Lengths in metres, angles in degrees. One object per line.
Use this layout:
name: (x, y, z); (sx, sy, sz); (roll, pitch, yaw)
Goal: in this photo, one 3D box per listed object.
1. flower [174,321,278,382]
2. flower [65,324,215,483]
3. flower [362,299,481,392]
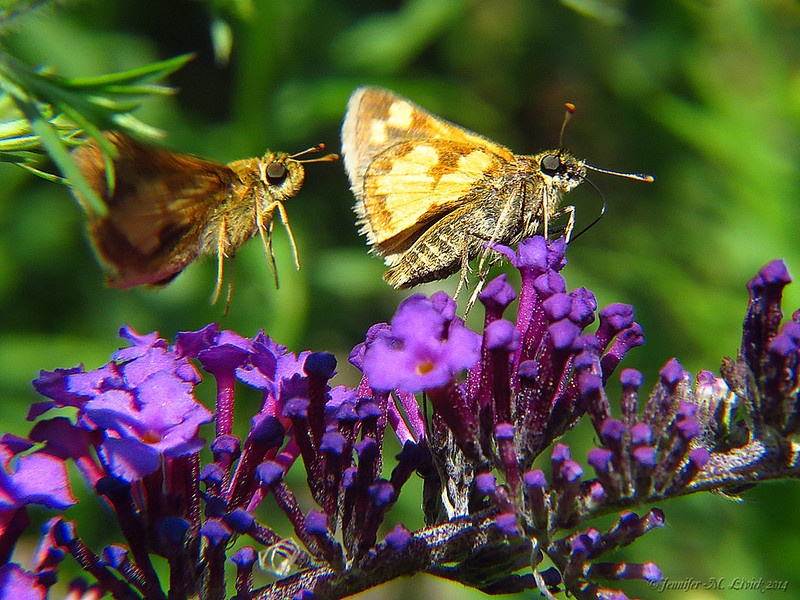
flower: (-0.585, 0.164, 3.522); (0.264, 0.113, 0.196); (6, -6, -4)
flower: (-0.853, 0.367, 3.365); (0.415, 0.264, 0.402); (-18, 35, -22)
flower: (0.067, 0.135, 3.237); (0.374, 0.203, 0.221); (-8, 31, -6)
